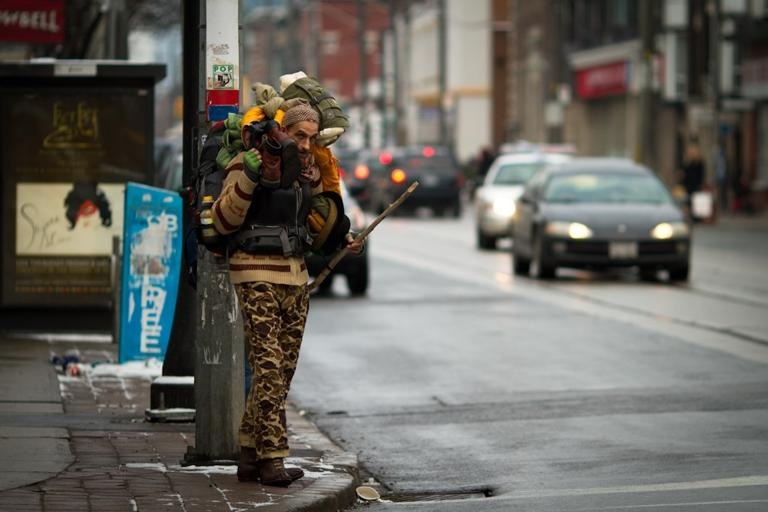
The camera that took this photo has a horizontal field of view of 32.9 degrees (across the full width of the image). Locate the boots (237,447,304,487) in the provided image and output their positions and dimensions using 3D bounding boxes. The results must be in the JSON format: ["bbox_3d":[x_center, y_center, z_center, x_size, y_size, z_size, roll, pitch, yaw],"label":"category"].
[{"bbox_3d":[-0.837,1.465,8.991,0.493,0.354,0.193,-4,0,19],"label":"boots"}]

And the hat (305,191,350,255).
[{"bbox_3d":[-0.400,-0.218,9.142,0.335,0.409,0.145,15,21,27],"label":"hat"}]

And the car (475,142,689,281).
[{"bbox_3d":[3.182,-0.525,19.325,2.104,1.799,3.088,1,6,-10],"label":"car"}]

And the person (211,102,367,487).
[{"bbox_3d":[-0.743,0.255,8.927,0.915,2.637,0.517,1,6,-10],"label":"person"}]

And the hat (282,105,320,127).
[{"bbox_3d":[-0.563,-0.968,8.873,0.191,0.180,0.150,16,12,21],"label":"hat"}]

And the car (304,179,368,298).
[{"bbox_3d":[-0.696,-0.068,18.888,0.885,0.993,1.785,1,9,-4],"label":"car"}]

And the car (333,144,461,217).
[{"bbox_3d":[0.553,-2.249,38.262,1.926,1.494,4.278,-1,9,-8],"label":"car"}]
